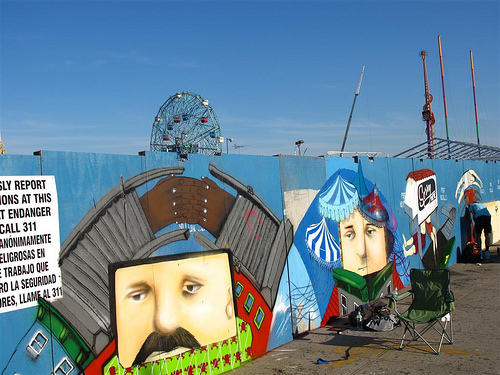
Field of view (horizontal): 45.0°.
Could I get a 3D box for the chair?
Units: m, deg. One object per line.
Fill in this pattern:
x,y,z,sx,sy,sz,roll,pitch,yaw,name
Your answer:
3.656,2.436,12.431,1.050,1.443,1.717,2,10,17,chair
